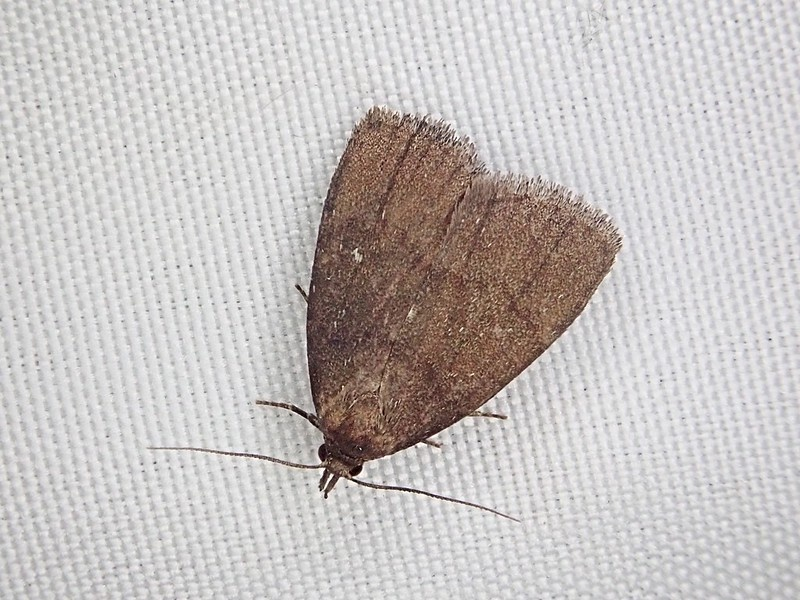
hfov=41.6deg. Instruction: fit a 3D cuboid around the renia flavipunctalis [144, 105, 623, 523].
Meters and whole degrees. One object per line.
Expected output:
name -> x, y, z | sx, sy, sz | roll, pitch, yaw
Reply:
renia flavipunctalis -> 0.095, 0.054, 4.562 | 1.235, 0.379, 1.680 | 29, 90, 0
